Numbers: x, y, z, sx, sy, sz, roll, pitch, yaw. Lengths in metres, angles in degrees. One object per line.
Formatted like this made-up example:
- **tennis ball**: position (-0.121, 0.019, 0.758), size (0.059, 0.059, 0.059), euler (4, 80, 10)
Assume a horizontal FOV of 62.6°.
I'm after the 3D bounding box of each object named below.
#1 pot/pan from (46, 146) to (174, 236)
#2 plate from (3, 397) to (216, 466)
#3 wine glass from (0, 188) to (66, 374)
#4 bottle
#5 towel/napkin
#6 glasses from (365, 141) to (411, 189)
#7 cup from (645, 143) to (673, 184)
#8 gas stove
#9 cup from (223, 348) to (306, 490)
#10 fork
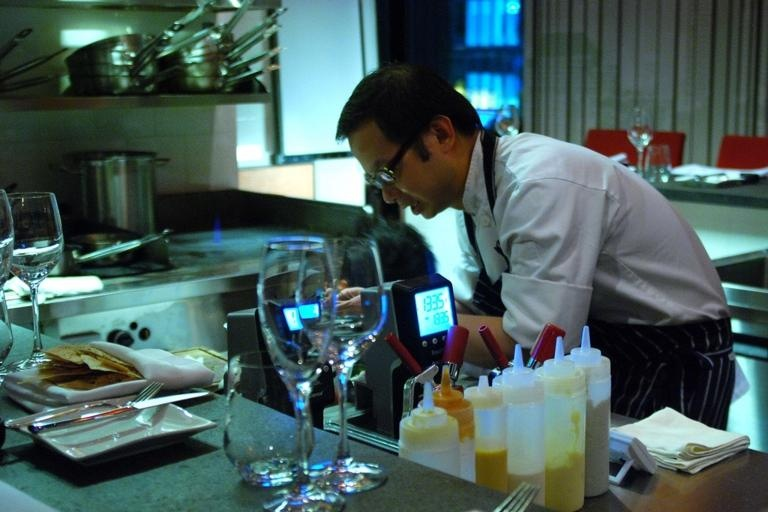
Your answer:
- **pot/pan**: position (-1.221, -0.278, 2.944), size (0.329, 0.382, 0.472), euler (8, 12, 44)
- **plate**: position (-0.426, 0.273, 0.988), size (0.272, 0.049, 0.166), euler (7, 12, 32)
- **wine glass**: position (-0.738, 0.049, 1.328), size (0.116, 0.343, 0.322), euler (-5, 12, -23)
- **bottle**: position (0.176, 0.253, 0.958), size (0.268, 0.340, 0.137), euler (-4, 5, -24)
- **towel/napkin**: position (0.513, 0.321, 1.115), size (0.190, 0.036, 0.150), euler (-6, 12, -30)
- **glasses**: position (0.014, -0.236, 1.648), size (0.033, 0.108, 0.105), euler (31, -3, 6)
- **cup**: position (1.302, -0.439, 3.022), size (0.128, 0.175, 0.128), euler (-4, 13, 1)
- **gas stove**: position (-0.932, 0.201, 2.531), size (0.393, 0.255, 0.578), euler (5, 9, 43)
- **cup**: position (-0.156, 0.231, 0.894), size (0.120, 0.158, 0.120), euler (-11, 1, 0)
- **fork**: position (-0.473, 0.233, 1.082), size (0.077, 0.034, 0.300), euler (9, 13, 39)
